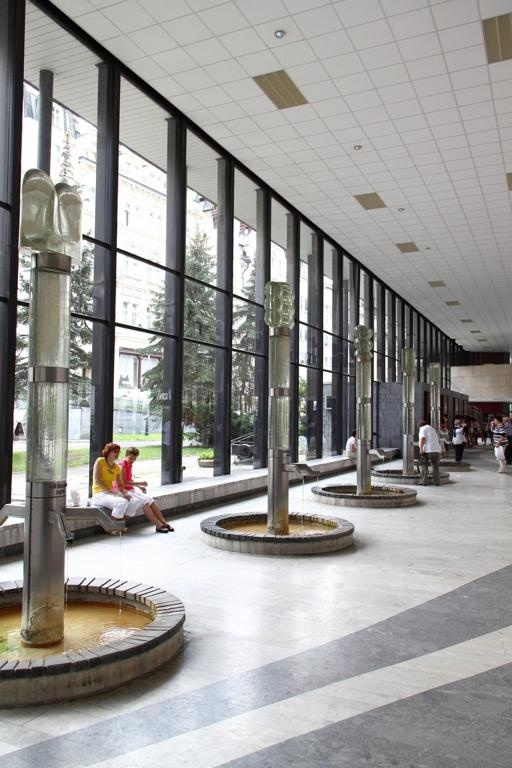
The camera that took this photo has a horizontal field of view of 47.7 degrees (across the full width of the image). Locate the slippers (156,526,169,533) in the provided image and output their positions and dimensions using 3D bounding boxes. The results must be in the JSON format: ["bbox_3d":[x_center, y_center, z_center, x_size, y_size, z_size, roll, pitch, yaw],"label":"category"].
[{"bbox_3d":[-0.927,1.432,5.681,0.143,0.060,0.050,-4,-4,24],"label":"slippers"}]
